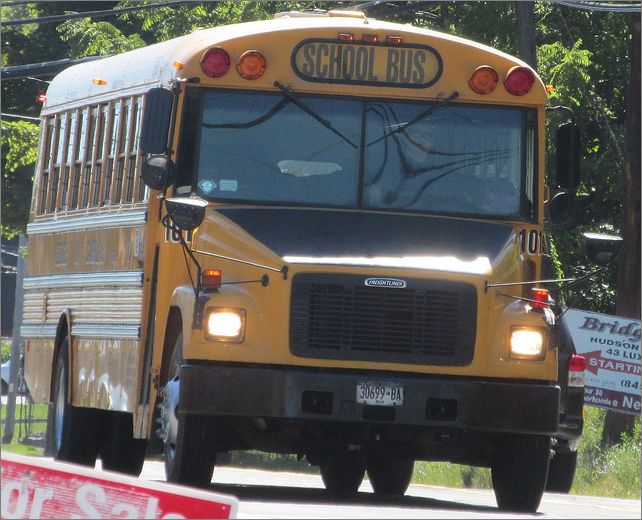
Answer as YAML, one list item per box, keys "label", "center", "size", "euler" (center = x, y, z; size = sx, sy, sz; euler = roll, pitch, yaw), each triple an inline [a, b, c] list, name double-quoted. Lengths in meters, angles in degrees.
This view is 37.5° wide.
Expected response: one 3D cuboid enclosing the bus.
- label: "bus"
  center: [-0.434, 0.062, 8.655]
  size: [2.637, 3.159, 5.831]
  euler: [1, -6, -12]
